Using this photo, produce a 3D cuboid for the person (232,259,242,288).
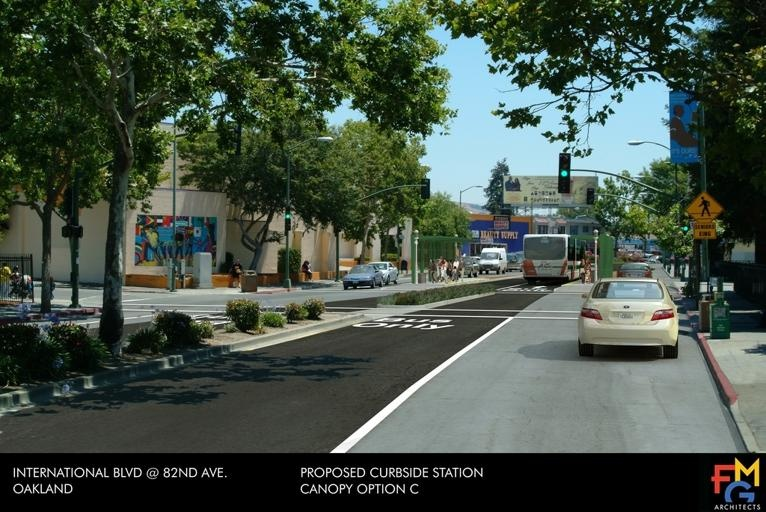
[{"bbox_3d":[-9.945,1.211,53.774,0.666,1.198,1.456,-1,-1,-11],"label":"person"}]
